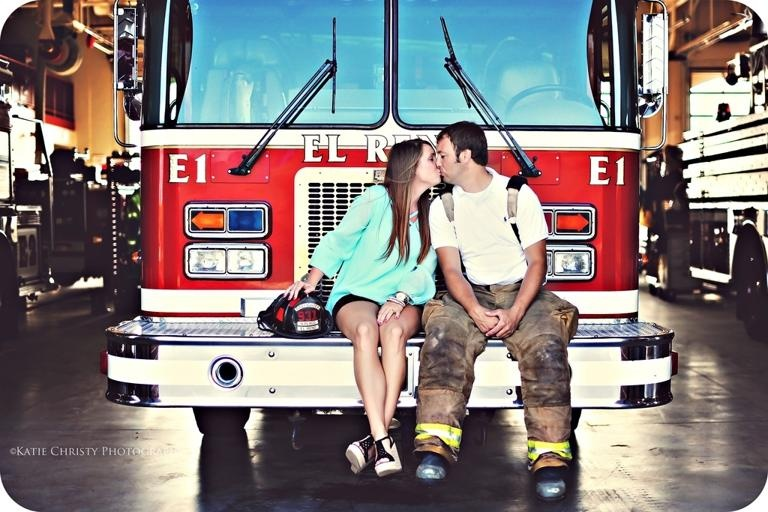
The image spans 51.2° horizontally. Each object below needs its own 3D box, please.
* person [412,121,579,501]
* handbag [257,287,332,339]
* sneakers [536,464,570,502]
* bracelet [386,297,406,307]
[{"bbox_3d":[0.776,0.321,5.555,1.044,2.507,0.927,1,5,11],"label":"person"},{"bbox_3d":[-0.641,0.393,5.750,0.522,0.264,0.667,0,10,-18],"label":"handbag"},{"bbox_3d":[1.119,1.525,5.432,0.196,0.124,0.370,-6,17,10],"label":"sneakers"},{"bbox_3d":[0.075,0.332,5.653,0.117,0.071,0.094,2,5,19],"label":"bracelet"}]
